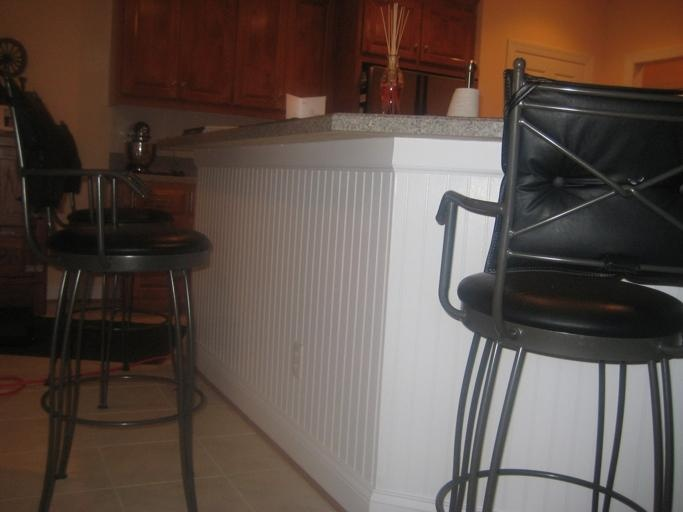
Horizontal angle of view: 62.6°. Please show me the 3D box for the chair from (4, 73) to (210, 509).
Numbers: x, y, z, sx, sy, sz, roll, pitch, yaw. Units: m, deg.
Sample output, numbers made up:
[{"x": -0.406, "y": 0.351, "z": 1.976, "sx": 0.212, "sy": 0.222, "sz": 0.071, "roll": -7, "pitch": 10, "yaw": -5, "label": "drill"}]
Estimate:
[{"x": -0.808, "y": 0.102, "z": 1.992, "sx": 0.670, "sy": 1.332, "sz": 0.839, "roll": 0, "pitch": 10, "yaw": -14, "label": "chair"}]
